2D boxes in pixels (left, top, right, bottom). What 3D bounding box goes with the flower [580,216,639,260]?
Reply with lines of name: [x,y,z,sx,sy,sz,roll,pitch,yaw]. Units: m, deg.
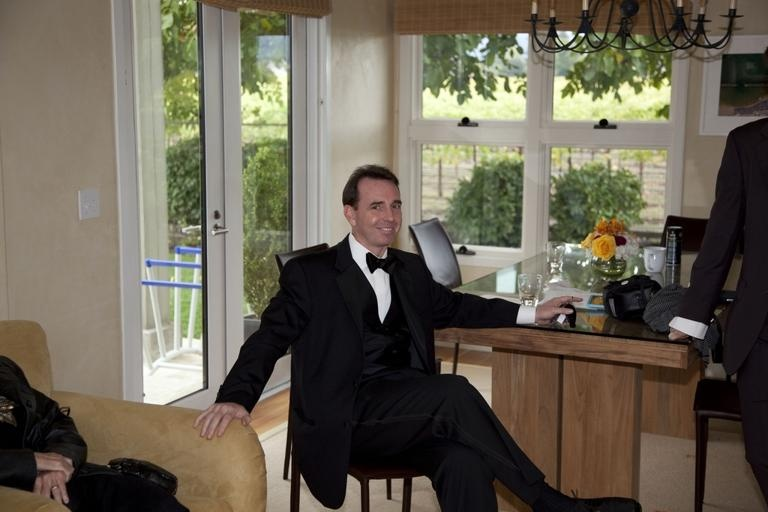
flower: [1.359,-0.116,3.879,0.280,0.283,0.276,-6,14,-29]

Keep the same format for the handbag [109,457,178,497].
handbag: [-0.900,0.811,2.369,0.217,0.072,0.142,10,3,-5]

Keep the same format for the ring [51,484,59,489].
ring: [-1.143,0.806,2.194,0.019,0.010,0.004,-2,9,-17]

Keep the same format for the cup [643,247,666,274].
cup: [1.637,0.024,3.867,0.118,0.132,0.178,0,-1,-3]

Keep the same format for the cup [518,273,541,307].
cup: [0.712,0.167,3.103,0.143,0.165,0.137,1,0,0]
